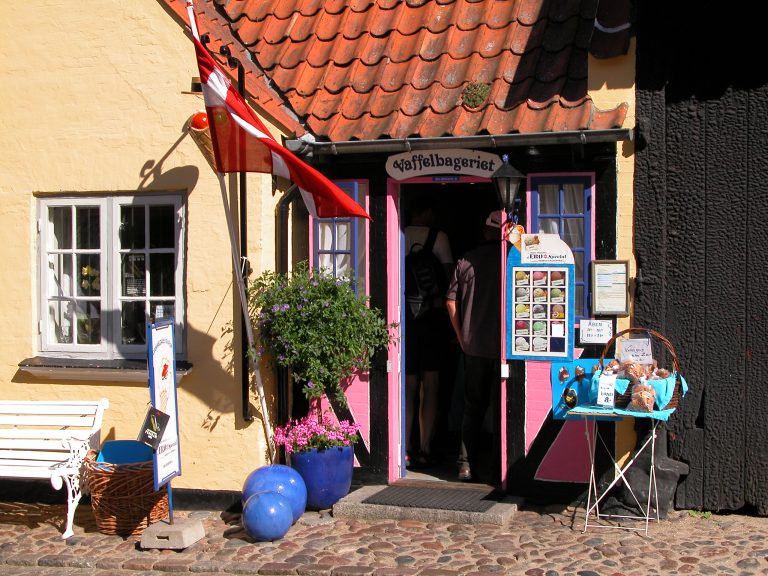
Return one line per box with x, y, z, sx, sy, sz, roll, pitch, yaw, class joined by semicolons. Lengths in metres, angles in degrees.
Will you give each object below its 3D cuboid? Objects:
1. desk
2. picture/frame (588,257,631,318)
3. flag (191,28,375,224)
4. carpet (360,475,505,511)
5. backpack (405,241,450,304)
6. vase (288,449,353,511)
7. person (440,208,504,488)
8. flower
2.234;1.651;10.875;0.933;1.205;0.816;2;2;13;desk
2.185;-0.012;11.114;0.350;0.513;0.035;2;2;13;picture/frame
-1.123;-1.476;10.779;1.454;2.195;0.222;-16;-9;-33;flag
0.509;2.059;11.366;1.298;0.096;0.831;2;3;10;carpet
0.459;-0.127;12.461;0.327;0.747;0.354;0;4;8;backpack
-0.590;1.808;11.420;0.537;0.632;0.641;-3;8;-25;vase
1.027;0.685;12.099;0.583;2.569;0.786;0;-1;24;person
-0.661;0.441;11.356;1.394;1.185;0.574;1;2;-9;flower
